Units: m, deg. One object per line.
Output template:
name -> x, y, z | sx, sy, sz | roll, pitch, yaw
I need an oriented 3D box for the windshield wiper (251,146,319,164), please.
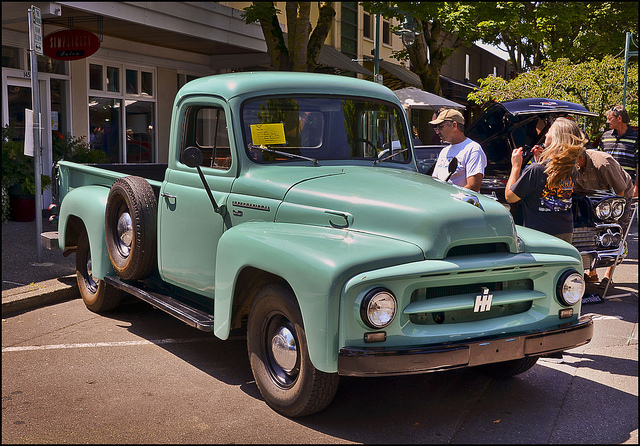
windshield wiper -> -0.402, -0.701, 5.445 | 0.521, 0.073, 0.042 | 17, 37, -8

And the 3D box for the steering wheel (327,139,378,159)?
steering wheel -> 0.383, -0.821, 5.830 | 0.700, 0.211, 0.060 | -7, 15, -34

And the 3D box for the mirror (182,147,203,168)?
mirror -> -1.292, -0.654, 5.278 | 0.187, 0.193, 0.090 | -29, 22, -33

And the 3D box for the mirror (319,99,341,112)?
mirror -> 0.107, -1.268, 5.729 | 0.228, 0.153, 0.076 | 1, 0, -18

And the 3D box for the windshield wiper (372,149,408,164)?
windshield wiper -> 0.812, -0.766, 6.011 | 0.518, 0.076, 0.059 | -24, 48, -28

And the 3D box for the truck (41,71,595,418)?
truck -> -0.663, -0.055, 6.312 | 2.921, 2.518, 6.004 | 2, 3, -32

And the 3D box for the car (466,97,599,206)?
car -> 4.065, -1.305, 9.708 | 1.681, 1.155, 1.848 | -5, 46, 34
